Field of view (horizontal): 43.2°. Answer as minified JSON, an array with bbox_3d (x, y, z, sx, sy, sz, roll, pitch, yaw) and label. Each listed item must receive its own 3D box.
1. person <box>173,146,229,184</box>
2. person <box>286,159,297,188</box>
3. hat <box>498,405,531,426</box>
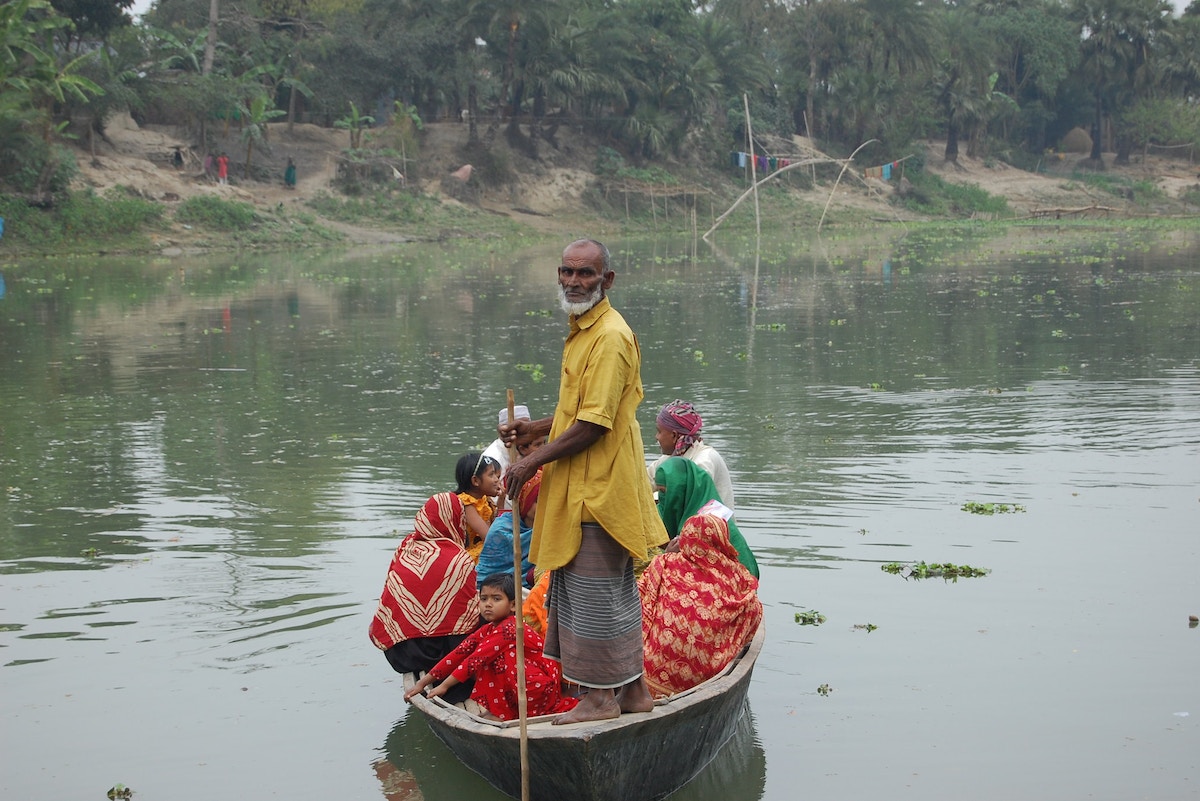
[{"bbox_3d":[-13.082,-7.626,49.569,1.576,1.172,0.819,9,-29,-29],"label":"person"},{"bbox_3d":[-10.817,-7.802,52.770,0.386,1.033,1.343,-4,2,-13],"label":"person"},{"bbox_3d":[-0.844,0.154,14.903,0.208,0.186,0.213,-24,-6,29],"label":"hat"}]
